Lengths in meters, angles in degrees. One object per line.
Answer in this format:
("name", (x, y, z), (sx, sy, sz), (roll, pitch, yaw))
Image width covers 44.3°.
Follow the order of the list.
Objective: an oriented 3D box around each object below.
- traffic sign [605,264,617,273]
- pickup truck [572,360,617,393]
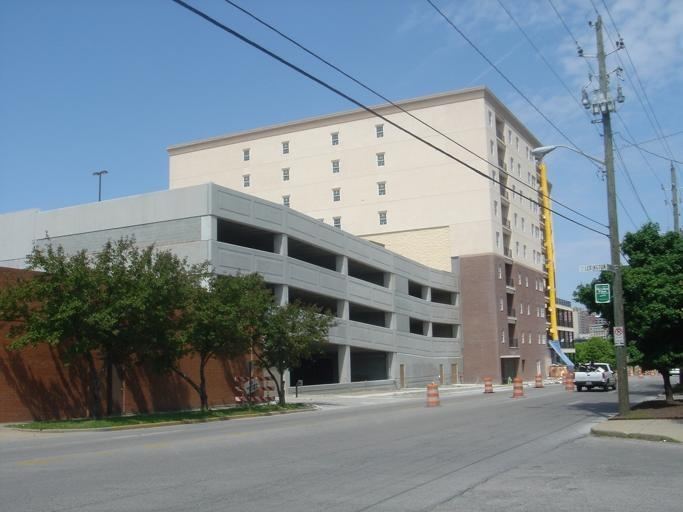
("traffic sign", (9.971, 0.421, 30.997), (0.336, 0.214, 0.359), (-1, -3, 38))
("pickup truck", (16.059, 7.560, 52.450), (1.553, 1.171, 3.082), (-3, -5, 29))
